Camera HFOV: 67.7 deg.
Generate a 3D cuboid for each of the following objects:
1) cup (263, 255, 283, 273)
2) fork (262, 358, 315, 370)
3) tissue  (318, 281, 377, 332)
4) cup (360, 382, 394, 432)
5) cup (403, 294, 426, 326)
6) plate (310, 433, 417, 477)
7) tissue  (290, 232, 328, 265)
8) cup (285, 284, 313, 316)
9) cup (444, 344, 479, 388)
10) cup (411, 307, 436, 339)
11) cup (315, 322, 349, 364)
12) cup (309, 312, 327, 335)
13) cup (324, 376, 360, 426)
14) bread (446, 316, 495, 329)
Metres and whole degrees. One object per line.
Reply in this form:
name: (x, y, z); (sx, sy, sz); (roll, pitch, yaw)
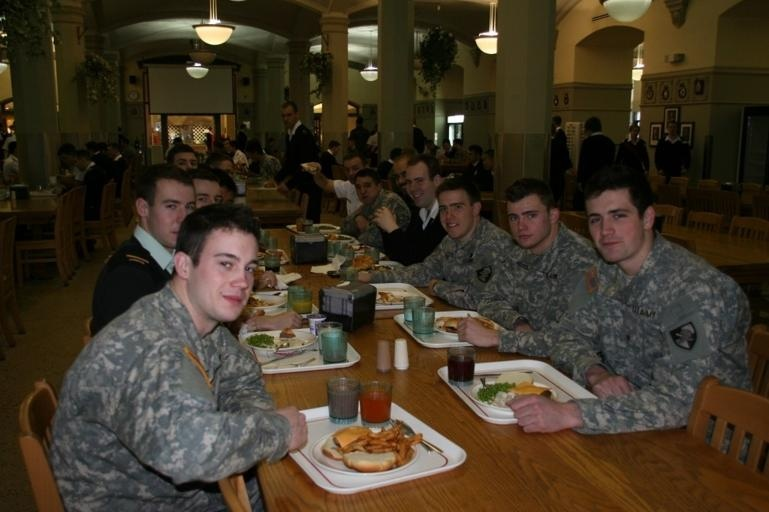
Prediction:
cup: (-0.722, 0.048, 3.703); (0.113, 0.116, 0.111); (-3, 7, 0)
fork: (-0.374, 0.440, 2.316); (0.143, 0.024, 0.073); (-3, 14, -16)
tissue : (-0.158, 0.213, 2.841); (0.338, 0.199, 0.285); (15, 15, 41)
cup: (-0.031, 0.492, 1.882); (0.129, 0.141, 0.134); (0, 5, 0)
cup: (0.136, 0.260, 2.676); (0.117, 0.127, 0.120); (1, 2, 0)
plate: (-0.053, 0.598, 1.706); (0.262, 0.045, 0.226); (-6, 12, -37)
tissue : (-0.504, -0.058, 3.927); (0.223, 0.182, 0.212); (-2, 5, -20)
cup: (-0.437, 0.239, 2.938); (0.127, 0.137, 0.134); (1, 1, 0)
cup: (0.296, 0.428, 2.206); (0.118, 0.130, 0.134); (0, 1, 7)
cup: (0.177, 0.303, 2.586); (0.123, 0.134, 0.122); (1, 6, 0)
cup: (-0.203, 0.364, 2.400); (0.129, 0.146, 0.149); (-2, 2, -2)
cup: (-0.303, 0.301, 2.564); (0.084, 0.081, 0.081); (3, 12, -1)
cup: (-0.139, 0.484, 1.914); (0.134, 0.144, 0.137); (1, 5, 0)
bread: (0.361, 0.309, 2.635); (0.106, 0.026, 0.100); (0, 5, -14)
